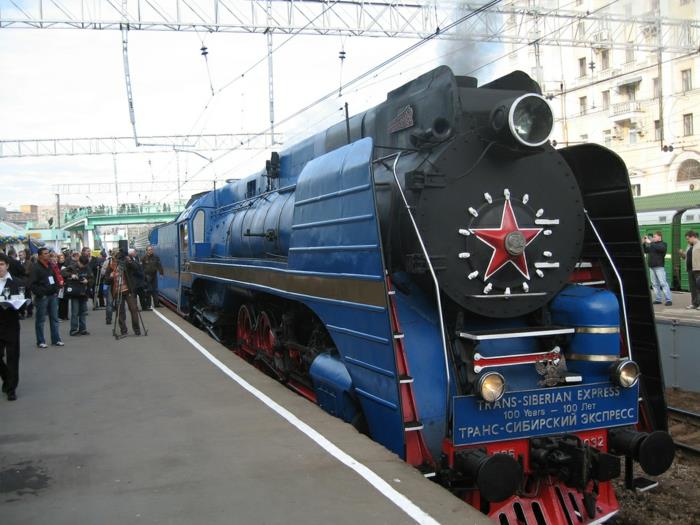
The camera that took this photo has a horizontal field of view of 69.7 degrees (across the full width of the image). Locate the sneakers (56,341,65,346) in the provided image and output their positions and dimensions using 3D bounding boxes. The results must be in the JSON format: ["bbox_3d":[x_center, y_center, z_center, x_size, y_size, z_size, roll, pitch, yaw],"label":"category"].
[{"bbox_3d":[-6.468,1.808,11.222,0.076,0.100,0.214,-1,-4,-35],"label":"sneakers"}]

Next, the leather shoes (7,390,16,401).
[{"bbox_3d":[-4.915,1.931,7.286,0.072,0.099,0.214,2,-6,-36],"label":"leather shoes"}]

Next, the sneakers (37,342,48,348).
[{"bbox_3d":[-6.715,1.820,10.990,0.086,0.110,0.254,3,-8,-40],"label":"sneakers"}]
